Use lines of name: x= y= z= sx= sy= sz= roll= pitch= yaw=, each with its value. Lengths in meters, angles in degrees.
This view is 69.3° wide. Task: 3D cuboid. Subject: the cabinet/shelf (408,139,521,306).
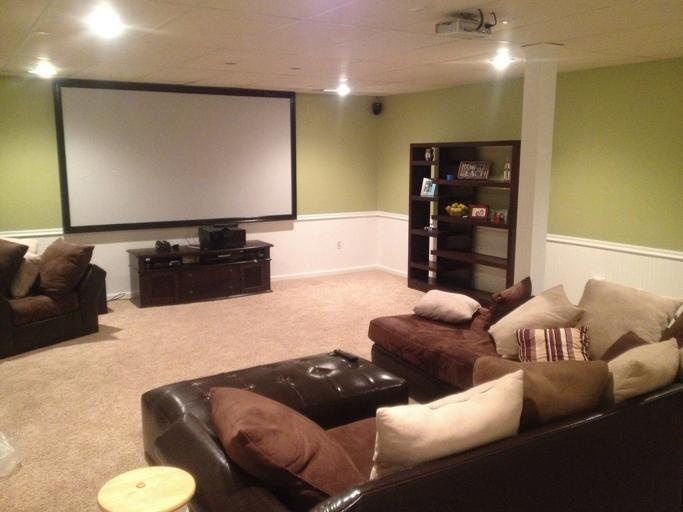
cabinet/shelf: x=1.598 y=-0.470 z=6.273 sx=0.578 sy=2.373 sz=2.134 roll=-4 pitch=6 yaw=-30

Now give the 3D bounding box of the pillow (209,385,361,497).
pillow: x=-0.308 y=0.832 z=2.260 sx=0.784 sy=0.314 sz=0.453 roll=8 pitch=15 yaw=30

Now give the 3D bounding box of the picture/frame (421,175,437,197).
picture/frame: x=1.221 y=-0.966 z=6.891 sx=0.080 sy=0.266 sz=0.250 roll=9 pitch=1 yaw=-44

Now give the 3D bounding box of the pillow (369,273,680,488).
pillow: x=0.950 y=0.587 z=2.462 sx=1.362 sy=0.548 sz=1.151 roll=-4 pitch=12 yaw=-15

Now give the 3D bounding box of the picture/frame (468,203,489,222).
picture/frame: x=1.746 y=-0.544 z=6.265 sx=0.093 sy=0.221 sz=0.260 roll=-2 pitch=6 yaw=-42

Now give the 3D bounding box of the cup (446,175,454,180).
cup: x=1.451 y=-1.054 z=6.603 sx=0.096 sy=0.067 sz=0.095 roll=-1 pitch=5 yaw=0

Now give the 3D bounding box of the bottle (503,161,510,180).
bottle: x=1.955 y=-0.997 z=5.810 sx=0.085 sy=0.219 sz=0.273 roll=4 pitch=14 yaw=18

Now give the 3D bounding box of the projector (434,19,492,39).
projector: x=0.890 y=-1.666 z=3.630 sx=0.389 sy=0.108 sz=0.249 roll=2 pitch=13 yaw=9

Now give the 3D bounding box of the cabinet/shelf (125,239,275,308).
cabinet/shelf: x=-1.887 y=0.253 z=6.841 sx=1.726 sy=0.658 sz=0.579 roll=-6 pitch=8 yaw=-25

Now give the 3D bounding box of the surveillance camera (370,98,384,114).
surveillance camera: x=0.588 y=-2.409 z=8.012 sx=0.165 sy=0.248 sz=0.112 roll=-5 pitch=15 yaw=-21

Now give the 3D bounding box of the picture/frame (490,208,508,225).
picture/frame: x=1.941 y=-0.481 z=6.051 sx=0.110 sy=0.203 sz=0.218 roll=-8 pitch=13 yaw=-40

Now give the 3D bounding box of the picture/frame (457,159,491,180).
picture/frame: x=1.698 y=-1.107 z=6.334 sx=0.250 sy=0.240 sz=0.467 roll=-6 pitch=14 yaw=-24

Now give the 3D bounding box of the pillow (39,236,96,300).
pillow: x=-3.106 y=0.080 z=5.409 sx=0.829 sy=0.607 sz=0.442 roll=19 pitch=12 yaw=41
